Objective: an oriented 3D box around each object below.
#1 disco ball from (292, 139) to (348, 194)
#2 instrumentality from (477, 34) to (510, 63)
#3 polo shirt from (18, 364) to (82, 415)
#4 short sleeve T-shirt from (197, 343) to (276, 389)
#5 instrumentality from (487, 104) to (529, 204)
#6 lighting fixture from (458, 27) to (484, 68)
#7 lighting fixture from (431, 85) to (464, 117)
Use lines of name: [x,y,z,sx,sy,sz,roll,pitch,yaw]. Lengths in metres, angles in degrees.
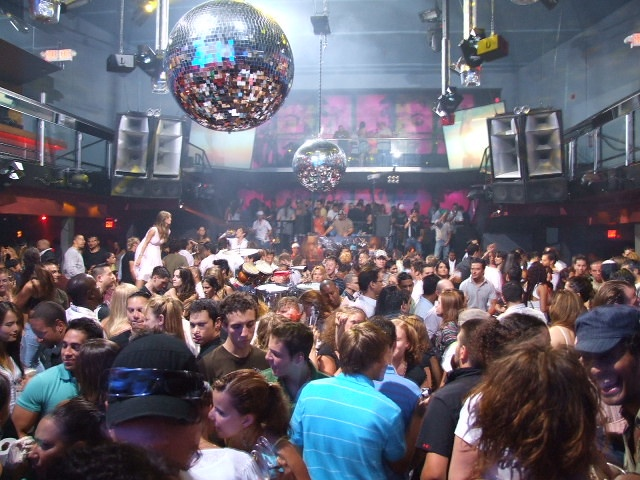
disco ball: [-0.007,-0.911,6.545,0.655,0.723,0.657,0,-2,0]
instrumentality: [2.248,-2.561,7.310,0.348,0.349,0.430,2,-3,22]
polo shirt: [-1.680,0.939,3.512,0.129,0.232,0.259,19,-20,41]
short sleeve T-shirt: [-0.624,0.888,4.074,0.425,0.414,0.234,3,-11,-20]
instrumentality: [3.688,-1.524,10.595,0.932,1.640,0.852,6,14,44]
lighting fixture: [2.012,-2.552,7.377,0.109,0.463,0.453,-2,10,-45]
lighting fixture: [2.004,-2.117,8.847,0.539,0.213,0.315,-4,4,-40]
